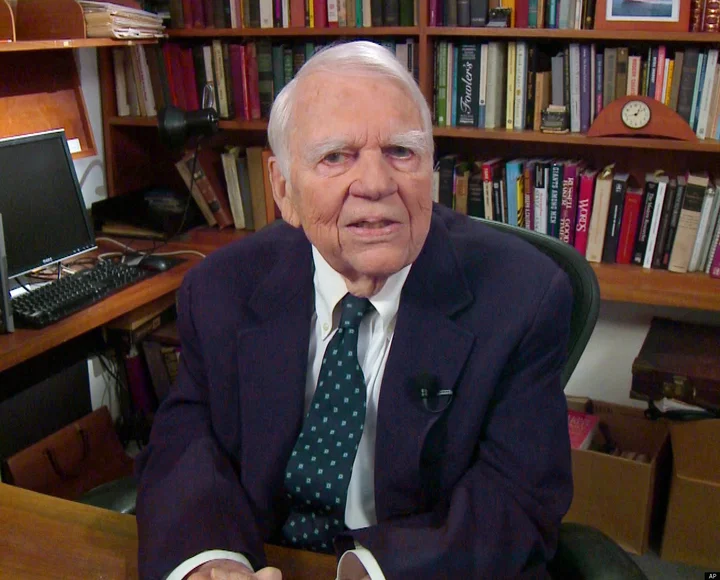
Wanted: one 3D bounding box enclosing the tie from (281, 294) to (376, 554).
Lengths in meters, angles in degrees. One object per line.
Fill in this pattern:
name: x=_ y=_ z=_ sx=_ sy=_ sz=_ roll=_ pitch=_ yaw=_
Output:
tie: x=-0.030 y=0.230 z=1.037 sx=0.124 sy=0.466 sz=0.100 roll=13 pitch=-3 yaw=5
